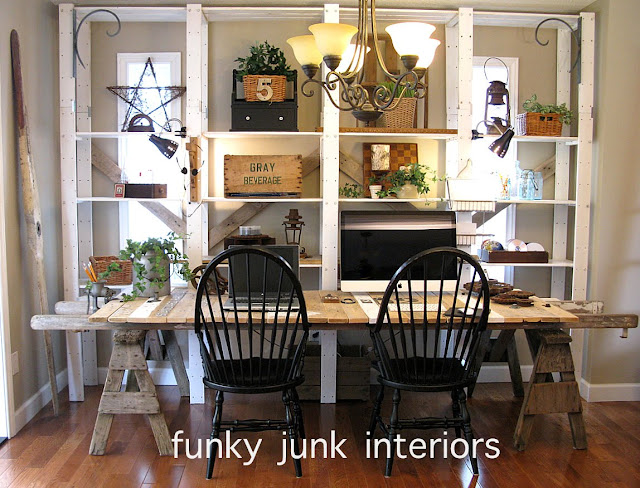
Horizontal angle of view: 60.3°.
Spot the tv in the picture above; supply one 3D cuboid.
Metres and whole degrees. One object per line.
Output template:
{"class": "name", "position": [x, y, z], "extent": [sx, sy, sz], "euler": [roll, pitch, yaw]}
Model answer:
{"class": "tv", "position": [0.508, -0.012, 3.666], "extent": [0.966, 0.664, 0.491], "euler": [0, -4, -1]}

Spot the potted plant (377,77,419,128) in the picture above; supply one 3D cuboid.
{"class": "potted plant", "position": [0.553, -0.950, 3.916], "extent": [0.346, 0.246, 0.389], "euler": [0, 1, 7]}

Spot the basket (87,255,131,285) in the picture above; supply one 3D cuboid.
{"class": "basket", "position": [-1.412, 0.178, 3.744], "extent": [0.230, 0.140, 0.277], "euler": [0, -2, -16]}

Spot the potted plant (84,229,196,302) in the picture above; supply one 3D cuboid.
{"class": "potted plant", "position": [-1.216, 0.135, 3.674], "extent": [0.567, 0.379, 0.484], "euler": [0, 0, 41]}

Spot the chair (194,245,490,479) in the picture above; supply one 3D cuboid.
{"class": "chair", "position": [0.120, 0.727, 3.365], "extent": [1.323, 0.937, 0.475], "euler": [0, -1, -1]}

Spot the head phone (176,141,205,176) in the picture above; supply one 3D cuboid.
{"class": "head phone", "position": [-0.937, -0.634, 3.989], "extent": [0.198, 0.273, 0.532], "euler": [-3, 12, -14]}

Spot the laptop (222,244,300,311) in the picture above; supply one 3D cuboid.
{"class": "laptop", "position": [-0.352, 0.208, 3.223], "extent": [0.478, 0.352, 0.376], "euler": [0, -2, 0]}

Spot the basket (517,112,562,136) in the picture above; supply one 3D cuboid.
{"class": "basket", "position": [1.586, -0.863, 3.998], "extent": [0.295, 0.167, 0.148], "euler": [3, 12, 16]}

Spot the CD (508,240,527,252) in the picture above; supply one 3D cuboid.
{"class": "CD", "position": [1.462, 0.011, 4.105], "extent": [0.096, 0.093, 0.025], "euler": [3, -10, 1]}

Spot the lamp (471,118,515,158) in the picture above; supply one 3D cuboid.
{"class": "lamp", "position": [1.252, -0.776, 4.015], "extent": [0.294, 0.280, 0.279], "euler": [3, 12, 15]}
